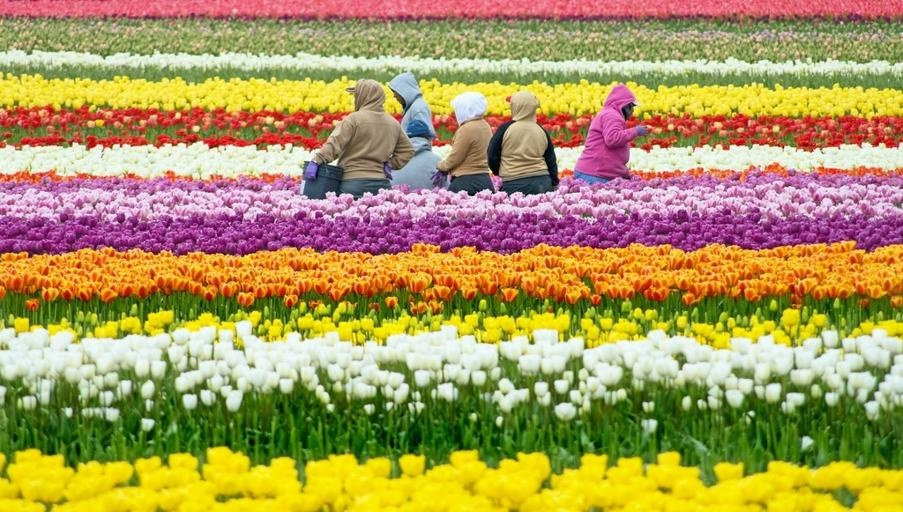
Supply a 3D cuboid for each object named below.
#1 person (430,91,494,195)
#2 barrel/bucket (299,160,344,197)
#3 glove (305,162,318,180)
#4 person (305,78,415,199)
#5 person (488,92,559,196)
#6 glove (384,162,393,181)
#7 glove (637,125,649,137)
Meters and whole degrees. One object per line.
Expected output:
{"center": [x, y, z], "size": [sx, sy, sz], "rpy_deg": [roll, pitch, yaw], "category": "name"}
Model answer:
{"center": [0.193, -1.485, 17.977], "size": [0.862, 1.442, 1.291], "rpy_deg": [3, 21, 1], "category": "person"}
{"center": [-1.808, -1.055, 17.126], "size": [0.503, 0.491, 0.494], "rpy_deg": [9, -1, 0], "category": "barrel/bucket"}
{"center": [-1.971, -1.206, 17.048], "size": [0.201, 0.248, 0.224], "rpy_deg": [5, 21, 7], "category": "glove"}
{"center": [-1.321, -1.659, 17.444], "size": [0.877, 1.474, 1.709], "rpy_deg": [13, 24, 26], "category": "person"}
{"center": [1.050, -1.601, 17.711], "size": [1.030, 1.310, 0.765], "rpy_deg": [13, 24, 26], "category": "person"}
{"center": [-0.967, -1.210, 17.742], "size": [0.061, 0.216, 0.146], "rpy_deg": [6, 33, 35], "category": "glove"}
{"center": [2.788, -1.840, 18.096], "size": [0.211, 0.124, 0.278], "rpy_deg": [10, 11, 3], "category": "glove"}
